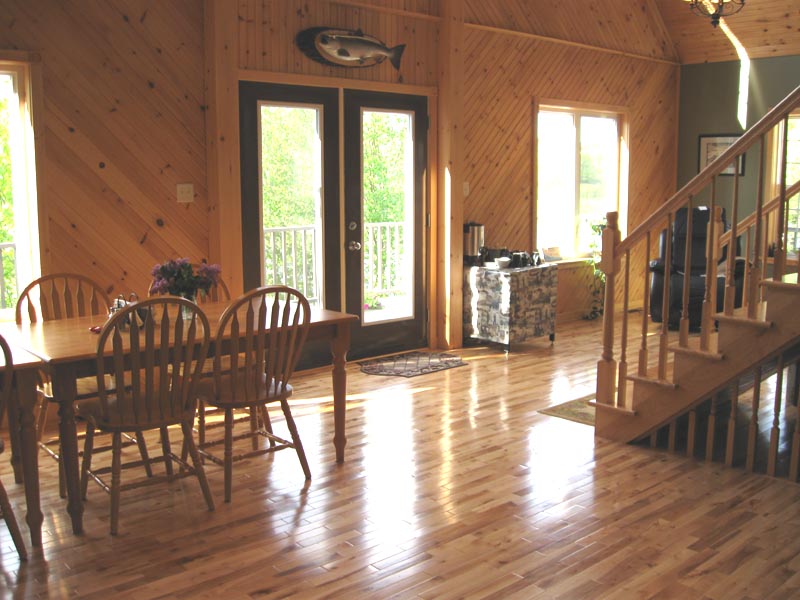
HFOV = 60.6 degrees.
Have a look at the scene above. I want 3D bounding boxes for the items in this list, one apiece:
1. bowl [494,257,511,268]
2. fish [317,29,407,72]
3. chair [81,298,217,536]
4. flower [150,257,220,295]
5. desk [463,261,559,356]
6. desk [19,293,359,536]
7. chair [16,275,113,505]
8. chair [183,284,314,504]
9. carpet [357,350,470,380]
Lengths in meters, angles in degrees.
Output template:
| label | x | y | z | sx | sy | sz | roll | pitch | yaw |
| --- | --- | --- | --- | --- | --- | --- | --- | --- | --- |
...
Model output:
| label | x | y | z | sx | sy | sz | roll | pitch | yaw |
| --- | --- | --- | --- | --- | --- | --- | --- | --- | --- |
| bowl | 0.988 | -0.359 | 6.507 | 0.160 | 0.100 | 0.085 | -2 | 12 | -9 |
| fish | -0.341 | -2.160 | 5.909 | 0.906 | 0.298 | 0.063 | -10 | 15 | -38 |
| chair | -1.318 | 0.504 | 3.566 | 0.550 | 1.233 | 0.585 | 15 | 17 | 41 |
| flower | -1.271 | -0.151 | 3.914 | 0.290 | 0.196 | 0.254 | -5 | 10 | -42 |
| desk | 1.118 | 0.039 | 6.832 | 0.775 | 0.759 | 0.573 | -7 | 10 | -40 |
| desk | -1.078 | 0.404 | 4.661 | 2.713 | 0.930 | 1.913 | -7 | 14 | -30 |
| chair | -2.042 | 0.415 | 4.256 | 0.500 | 1.077 | 0.439 | -5 | -35 | -29 |
| chair | -0.829 | 0.470 | 3.872 | 0.575 | 1.151 | 0.620 | 5 | 7 | 19 |
| carpet | 0.121 | 0.558 | 6.189 | 1.055 | 0.049 | 0.678 | -9 | 15 | -36 |
